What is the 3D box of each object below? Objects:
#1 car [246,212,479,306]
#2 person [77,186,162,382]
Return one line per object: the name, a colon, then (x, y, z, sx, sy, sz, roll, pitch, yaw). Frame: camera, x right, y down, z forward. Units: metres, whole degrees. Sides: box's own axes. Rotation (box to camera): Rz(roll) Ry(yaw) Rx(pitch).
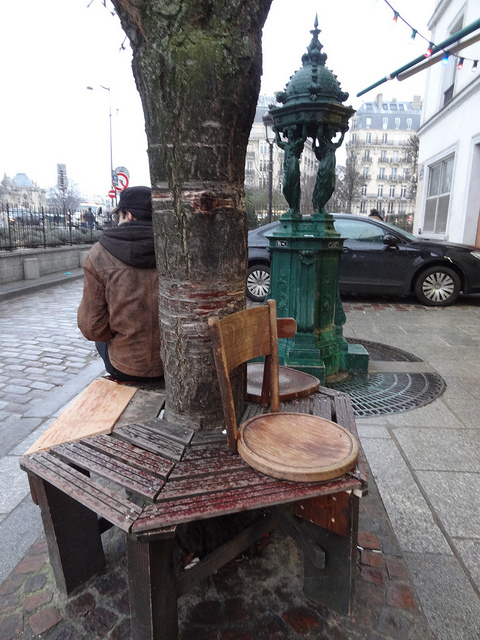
car: (2.518, -1.171, 9.319, 5.021, 1.758, 2.195, 0, 7, 3)
person: (-0.713, -0.080, 2.448, 0.480, 0.929, 0.293, -1, 9, -3)
